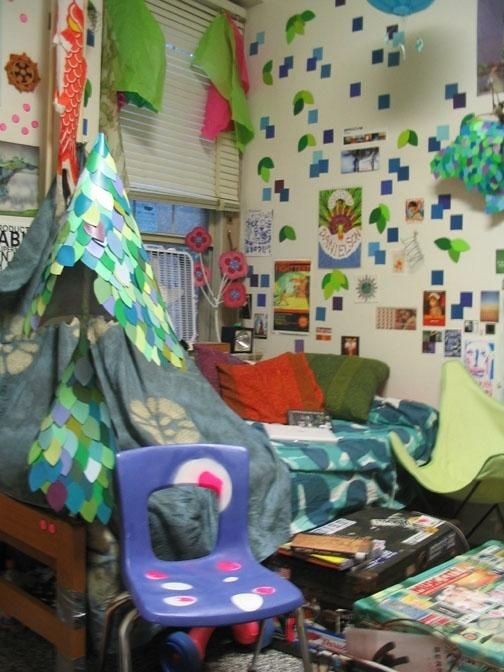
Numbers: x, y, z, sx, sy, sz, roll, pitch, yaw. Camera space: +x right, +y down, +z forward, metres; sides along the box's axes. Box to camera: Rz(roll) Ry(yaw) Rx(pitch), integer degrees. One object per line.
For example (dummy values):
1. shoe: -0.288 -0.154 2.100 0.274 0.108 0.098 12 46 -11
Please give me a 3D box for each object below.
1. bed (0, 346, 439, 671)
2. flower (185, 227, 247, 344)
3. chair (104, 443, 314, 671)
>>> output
1. bed: 0.107 0.509 2.171 1.188 0.285 0.900 -7 11 -40
2. flower: -0.232 -0.316 3.763 0.419 0.698 0.392 7 7 -1
3. chair: -0.117 0.442 1.330 0.368 0.281 0.450 4 7 -19
